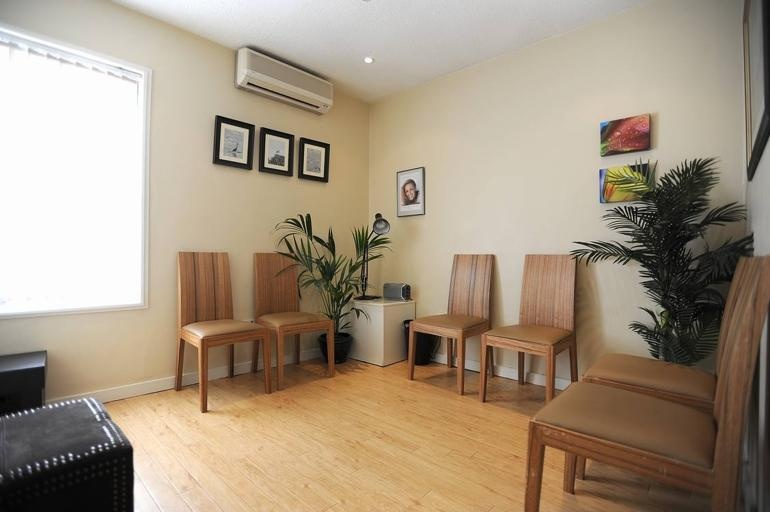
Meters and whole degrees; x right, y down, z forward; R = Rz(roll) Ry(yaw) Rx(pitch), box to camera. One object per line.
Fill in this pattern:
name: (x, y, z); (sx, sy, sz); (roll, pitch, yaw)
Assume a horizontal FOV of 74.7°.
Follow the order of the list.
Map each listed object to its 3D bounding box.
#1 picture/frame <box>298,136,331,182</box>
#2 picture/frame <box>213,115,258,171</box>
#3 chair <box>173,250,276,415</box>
picture/frame: (-0.810, -1.078, 5.625); (0.531, 0.612, 0.066); (2, -2, -44)
picture/frame: (-1.522, -1.124, 5.021); (0.583, 0.707, 0.050); (2, -1, -41)
chair: (-1.516, 0.623, 4.707); (0.784, 1.357, 0.688); (-5, 4, -38)
